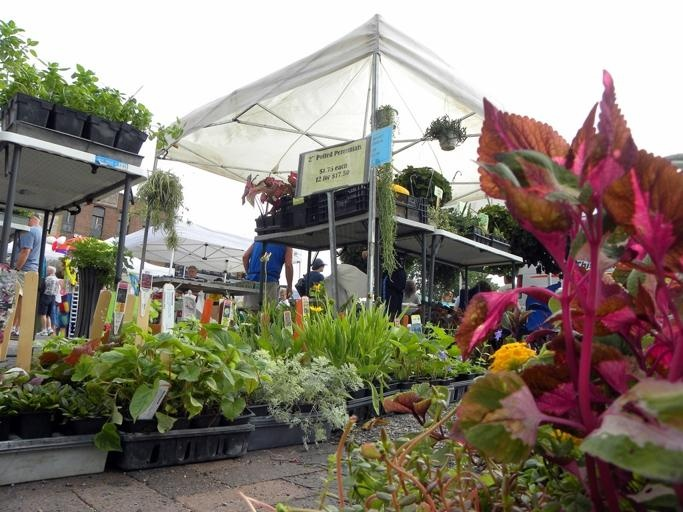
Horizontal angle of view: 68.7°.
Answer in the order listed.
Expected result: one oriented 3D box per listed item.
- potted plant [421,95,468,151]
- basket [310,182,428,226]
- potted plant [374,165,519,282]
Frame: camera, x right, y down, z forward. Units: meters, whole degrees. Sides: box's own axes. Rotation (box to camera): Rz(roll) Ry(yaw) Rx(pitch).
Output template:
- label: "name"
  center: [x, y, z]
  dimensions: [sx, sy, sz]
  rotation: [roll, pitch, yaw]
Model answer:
- label: "potted plant"
  center: [1.217, -1.526, 5.844]
  dimensions: [0.426, 0.320, 0.459]
  rotation: [9, -5, -32]
- label: "basket"
  center: [0.294, -0.456, 4.559]
  dimensions: [0.541, 0.183, 0.550]
  rotation: [-7, -6, 41]
- label: "potted plant"
  center: [1.150, -0.316, 5.524]
  dimensions: [1.248, 0.821, 1.680]
  rotation: [-3, -12, 40]
